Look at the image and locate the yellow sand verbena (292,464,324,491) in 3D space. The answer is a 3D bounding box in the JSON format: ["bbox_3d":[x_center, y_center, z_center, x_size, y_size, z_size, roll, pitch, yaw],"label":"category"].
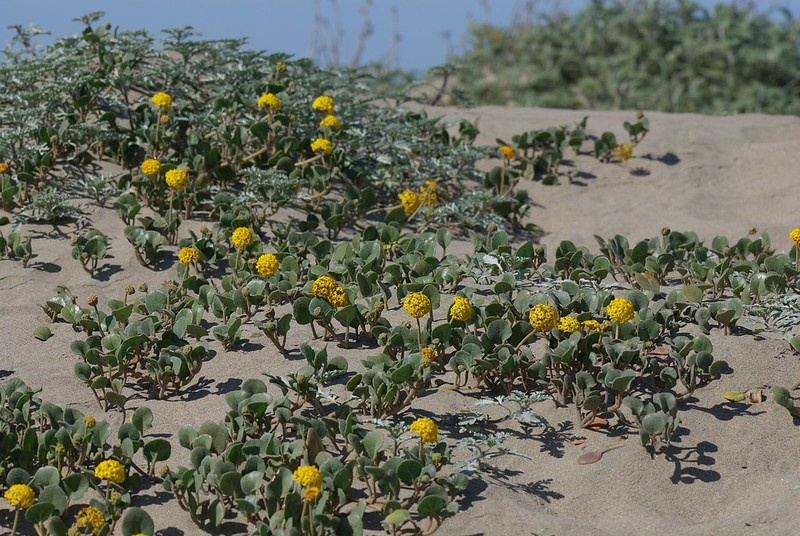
[{"bbox_3d":[-0.918,2.049,12.786,0.239,0.140,0.229,14,9,-5],"label":"yellow sand verbena"}]

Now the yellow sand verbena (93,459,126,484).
[{"bbox_3d":[-2.921,2.041,13.048,0.262,0.105,0.261,18,14,-11],"label":"yellow sand verbena"}]

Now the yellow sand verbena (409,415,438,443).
[{"bbox_3d":[0.225,1.667,13.231,0.271,0.287,0.280,-8,14,-2],"label":"yellow sand verbena"}]

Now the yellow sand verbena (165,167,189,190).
[{"bbox_3d":[-2.686,-1.086,15.555,0.262,0.272,0.158,27,32,-19],"label":"yellow sand verbena"}]

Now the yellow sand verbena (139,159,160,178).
[{"bbox_3d":[-3.041,-1.200,15.749,0.240,0.244,0.245,-4,-14,9],"label":"yellow sand verbena"}]

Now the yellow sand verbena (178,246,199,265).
[{"bbox_3d":[-2.423,-0.133,14.935,0.223,0.199,0.227,-6,31,14],"label":"yellow sand verbena"}]
